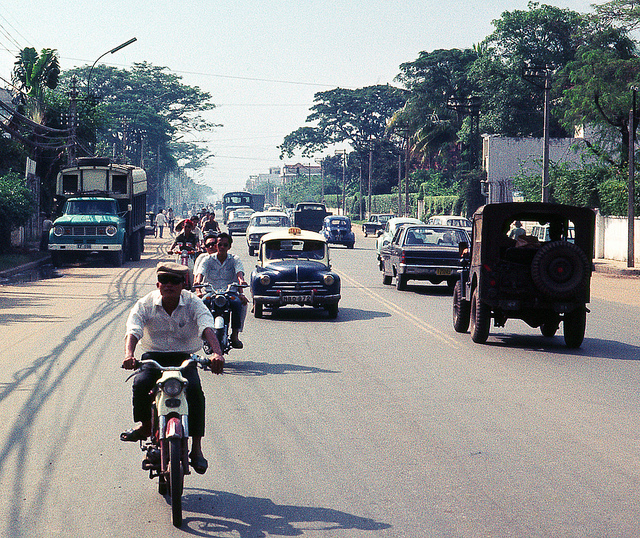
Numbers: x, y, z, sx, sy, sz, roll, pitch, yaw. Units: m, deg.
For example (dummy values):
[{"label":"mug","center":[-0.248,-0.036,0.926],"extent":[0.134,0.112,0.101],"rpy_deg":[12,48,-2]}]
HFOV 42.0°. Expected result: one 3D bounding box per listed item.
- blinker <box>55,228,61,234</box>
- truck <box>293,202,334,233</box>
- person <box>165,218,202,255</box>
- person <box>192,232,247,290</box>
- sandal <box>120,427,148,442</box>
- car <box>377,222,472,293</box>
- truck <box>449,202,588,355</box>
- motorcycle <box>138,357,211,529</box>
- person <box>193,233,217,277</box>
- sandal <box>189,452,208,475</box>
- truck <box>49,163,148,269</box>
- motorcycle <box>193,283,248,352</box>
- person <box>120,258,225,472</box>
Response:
[{"label":"blinker","center":[-9.321,-1.325,29.754],"extent":[0.210,0.205,0.057],"rpy_deg":[2,4,1]},{"label":"truck","center":[-0.522,-2.973,53.715],"extent":[1.794,1.810,3.301],"rpy_deg":[0,10,-6]},{"label":"person","center":[-3.084,-0.740,18.938],"extent":[0.666,1.031,1.579],"rpy_deg":[2,-1,-7]},{"label":"person","center":[-1.535,-0.016,12.893],"extent":[0.857,1.558,0.763],"rpy_deg":[1,0,-6]},{"label":"sandal","center":[-1.501,1.337,6.703],"extent":[0.176,0.086,0.102],"rpy_deg":[7,-6,-5]},{"label":"car","center":[2.756,-0.300,23.074],"extent":[1.279,1.201,2.469],"rpy_deg":[0,9,-11]},{"label":"truck","center":[3.622,0.112,15.555],"extent":[1.855,2.736,3.973],"rpy_deg":[4,1,2]},{"label":"motorcycle","center":[-1.117,1.246,6.361],"extent":[0.471,1.115,1.047],"rpy_deg":[0,5,-24]},{"label":"person","center":[-1.870,-0.201,13.354],"extent":[0.525,0.574,0.885],"rpy_deg":[-1,0,-5]},{"label":"sandal","center":[-0.945,1.513,6.533],"extent":[0.133,0.127,0.166],"rpy_deg":[1,4,-13]},{"label":"truck","center":[-8.607,-2.174,32.890],"extent":[2.081,3.132,5.925],"rpy_deg":[-1,1,-3]},{"label":"motorcycle","center":[-1.386,0.534,11.922],"extent":[0.586,0.914,1.409],"rpy_deg":[-1,16,-5]},{"label":"person","center":[-1.200,0.718,6.654],"extent":[0.833,1.655,1.002],"rpy_deg":[-4,10,-38]}]
